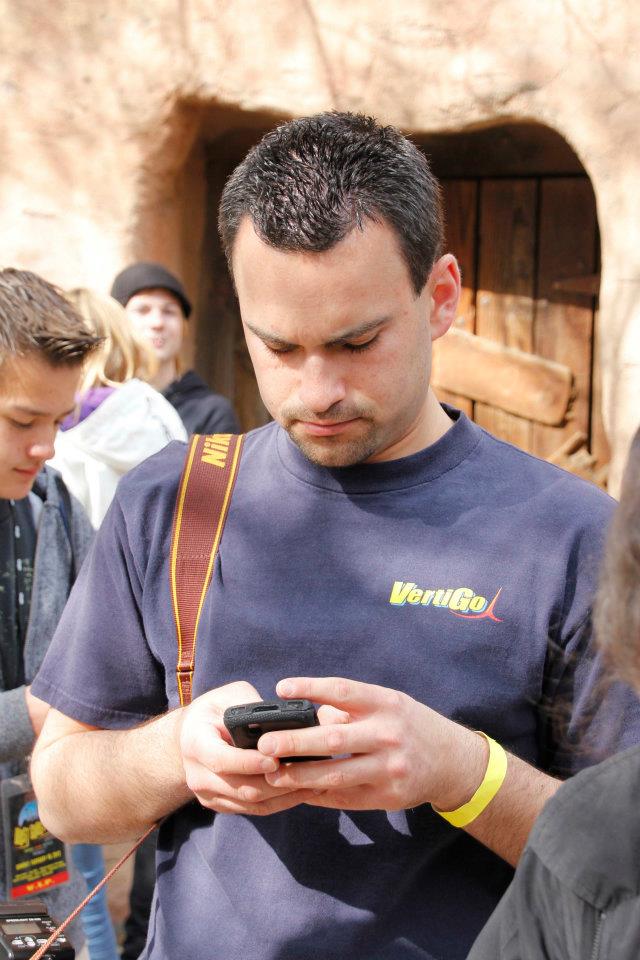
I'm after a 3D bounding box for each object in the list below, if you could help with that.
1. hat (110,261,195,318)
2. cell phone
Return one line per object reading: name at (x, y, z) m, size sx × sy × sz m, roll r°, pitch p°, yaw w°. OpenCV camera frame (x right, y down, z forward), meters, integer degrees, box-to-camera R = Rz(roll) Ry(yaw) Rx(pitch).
hat at (-0.692, -0.744, 3.785) m, size 0.232 × 0.218 × 0.286 m, roll -22°, pitch -16°, yaw -10°
cell phone at (-0.055, 0.285, 1.030) m, size 0.106 × 0.064 × 0.064 m, roll -3°, pitch 9°, yaw -2°
